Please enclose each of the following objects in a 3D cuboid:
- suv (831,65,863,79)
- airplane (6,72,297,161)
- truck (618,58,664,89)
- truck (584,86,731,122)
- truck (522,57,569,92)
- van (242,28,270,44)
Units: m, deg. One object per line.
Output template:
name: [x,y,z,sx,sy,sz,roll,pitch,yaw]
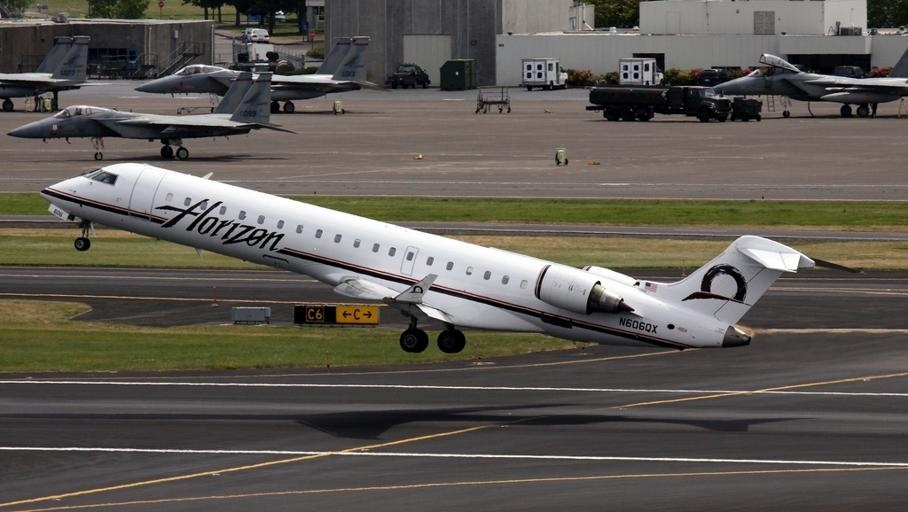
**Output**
suv: [49.537,-23.200,240.580,4.974,1.366,2.891,1,8,11]
airplane: [-31.088,-14.733,200.626,23.213,9.103,2.656,0,10,-6]
truck: [23.875,-24.038,249.324,5.832,3.157,8.138,2,7,21]
truck: [23.873,-17.888,224.460,15.114,4.115,4.255,2,8,10]
truck: [12.130,-25.054,262.182,4.354,2.423,6.987,2,5,25]
van: [-32.757,-35.885,311.858,4.112,1.624,6.696,-1,11,-14]
